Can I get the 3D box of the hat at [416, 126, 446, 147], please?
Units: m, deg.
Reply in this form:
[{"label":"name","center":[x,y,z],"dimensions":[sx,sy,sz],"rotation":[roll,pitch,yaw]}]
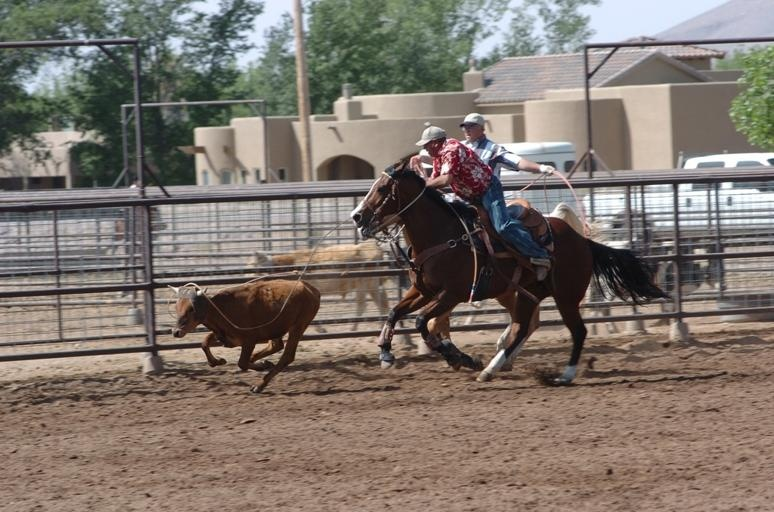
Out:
[{"label":"hat","center":[0.557,-1.560,13.376],"dimensions":[0.539,0.192,0.287],"rotation":[-6,12,-5]}]
